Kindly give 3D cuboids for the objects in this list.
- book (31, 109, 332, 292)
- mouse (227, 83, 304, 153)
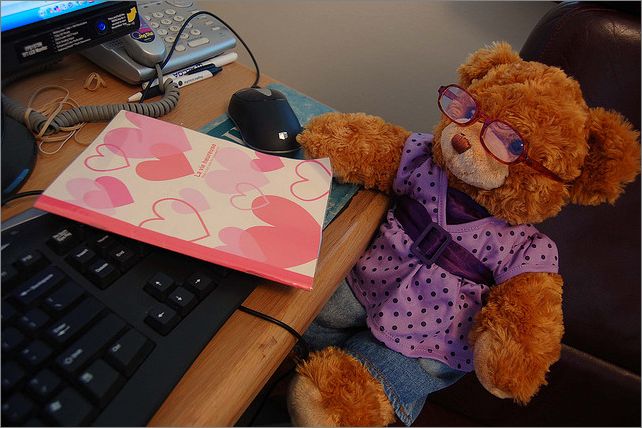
[{"bbox_3d":[-0.165,0.007,0.658,0.312,0.047,0.222,19,49,-1],"label":"book"},{"bbox_3d":[-0.093,-0.172,0.790,0.115,0.058,0.178,-6,45,-20],"label":"mouse"}]
